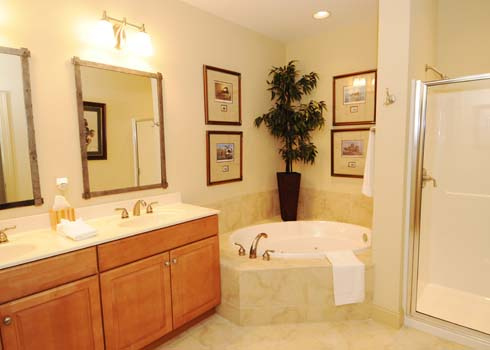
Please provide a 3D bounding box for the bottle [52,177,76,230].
[{"bbox_3d":[-1.483,0.234,2.993,0.169,0.394,0.337,-5,8,-23],"label":"bottle"}]

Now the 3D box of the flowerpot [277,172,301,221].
[{"bbox_3d":[0.561,0.279,4.708,0.285,0.598,0.160,0,8,11],"label":"flowerpot"}]

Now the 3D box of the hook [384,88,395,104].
[{"bbox_3d":[1.278,-0.698,3.262,0.087,0.140,0.034,6,11,44],"label":"hook"}]

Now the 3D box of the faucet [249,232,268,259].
[{"bbox_3d":[0.129,0.677,3.684,0.170,0.226,0.288,-1,8,6],"label":"faucet"}]

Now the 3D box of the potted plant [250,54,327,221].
[{"bbox_3d":[0.604,-0.450,4.654,0.764,2.179,0.691,3,9,34],"label":"potted plant"}]

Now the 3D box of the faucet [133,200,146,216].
[{"bbox_3d":[-0.981,0.296,3.430,0.088,0.135,0.185,1,8,17],"label":"faucet"}]
